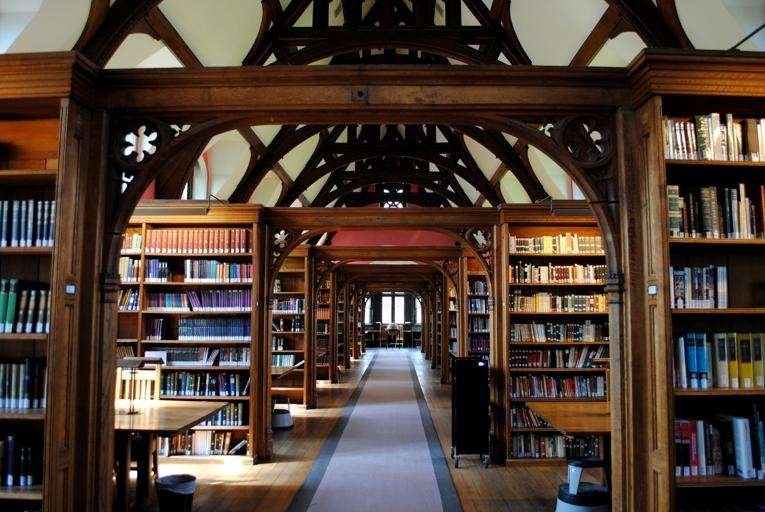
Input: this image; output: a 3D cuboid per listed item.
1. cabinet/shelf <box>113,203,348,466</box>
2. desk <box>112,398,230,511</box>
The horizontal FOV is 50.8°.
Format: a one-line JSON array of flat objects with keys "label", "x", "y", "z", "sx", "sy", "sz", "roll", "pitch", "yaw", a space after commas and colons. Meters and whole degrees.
[{"label": "cabinet/shelf", "x": -2.051, "y": 1.062, "z": 10.556, "sx": 3.614, "sy": 3.262, "sz": 1.250, "roll": -1, "pitch": -7, "yaw": -3}, {"label": "desk", "x": -2.291, "y": 1.929, "z": 8.541, "sx": 1.023, "sy": 0.415, "sz": 1.748, "roll": 1, "pitch": 0, "yaw": -6}]
